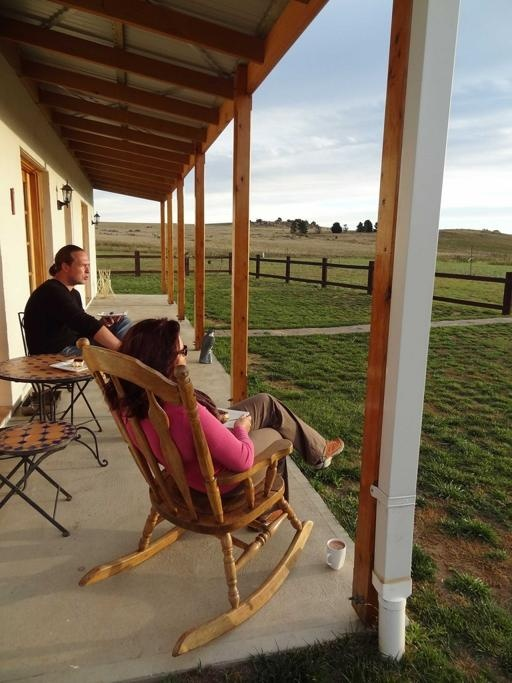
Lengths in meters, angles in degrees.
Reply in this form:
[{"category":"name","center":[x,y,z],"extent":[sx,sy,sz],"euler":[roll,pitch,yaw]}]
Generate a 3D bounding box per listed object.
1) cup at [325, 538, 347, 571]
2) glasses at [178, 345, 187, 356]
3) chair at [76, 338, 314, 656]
[{"category":"cup","center":[0.351,0.931,2.003],"extent":[0.074,0.080,0.114],"euler":[3,10,21]},{"category":"glasses","center":[-0.240,0.034,1.499],"extent":[0.042,0.013,0.041],"euler":[-3,10,-6]},{"category":"chair","center":[-0.330,0.390,2.086],"extent":[0.755,1.218,1.129],"euler":[13,20,37]}]
